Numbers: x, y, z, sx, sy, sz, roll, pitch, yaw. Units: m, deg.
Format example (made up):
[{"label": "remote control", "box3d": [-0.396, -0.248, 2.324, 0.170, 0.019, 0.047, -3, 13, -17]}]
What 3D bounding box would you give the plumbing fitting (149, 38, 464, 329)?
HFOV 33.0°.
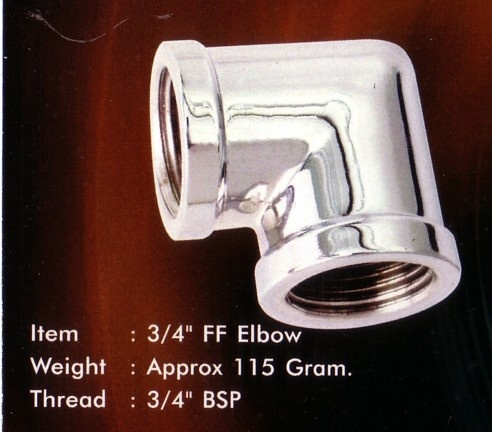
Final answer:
[{"label": "plumbing fitting", "box3d": [0.086, -0.050, 1.622, 0.490, 0.414, 0.686, -4, 77, -4]}]
